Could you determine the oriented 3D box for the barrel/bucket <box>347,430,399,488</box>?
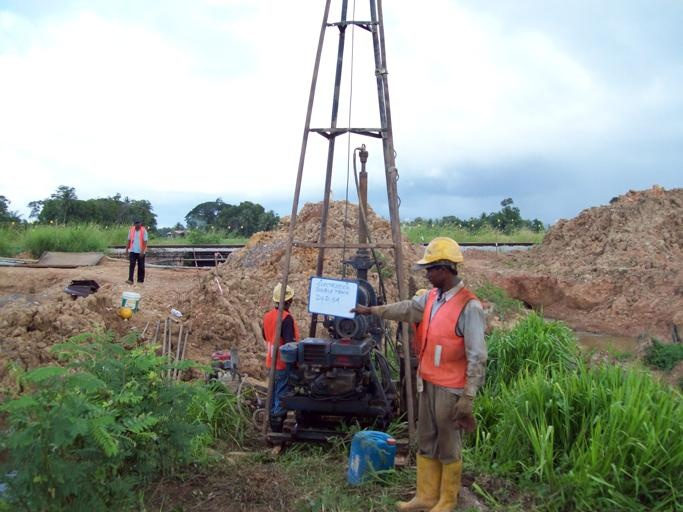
[{"bbox_3d":[0.327,2.316,5.478,0.534,0.619,0.564,7,-1,0],"label":"barrel/bucket"}]

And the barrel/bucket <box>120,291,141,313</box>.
[{"bbox_3d":[-4.065,0.869,9.019,0.300,0.387,0.402,3,-3,-27],"label":"barrel/bucket"}]

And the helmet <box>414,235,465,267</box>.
[{"bbox_3d":[1.037,-0.062,4.899,0.373,0.232,0.290,3,3,2],"label":"helmet"}]
